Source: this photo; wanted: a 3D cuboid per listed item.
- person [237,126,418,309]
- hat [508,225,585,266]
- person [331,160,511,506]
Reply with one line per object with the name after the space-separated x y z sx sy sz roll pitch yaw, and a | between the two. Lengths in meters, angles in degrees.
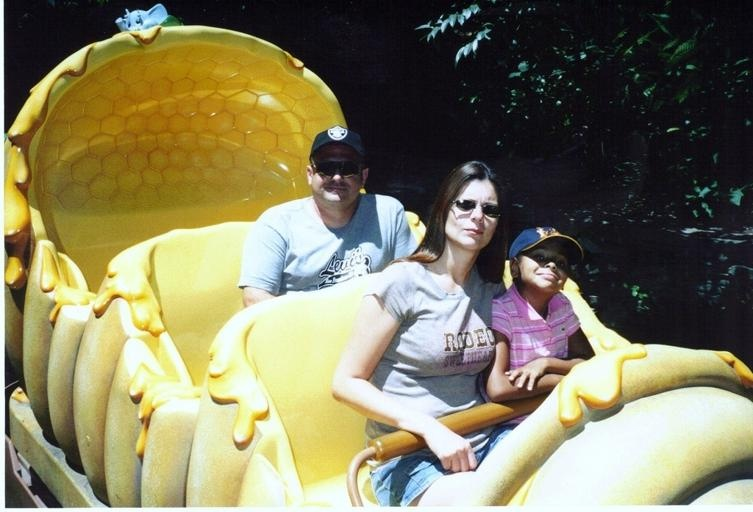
-0.207 -0.191 3.214 0.896 0.767 0.504 -3 14 -18 | person
0.639 -0.050 2.592 0.160 0.117 0.206 12 -33 -32 | hat
0.164 0.279 2.459 0.533 1.286 0.452 8 5 13 | person
